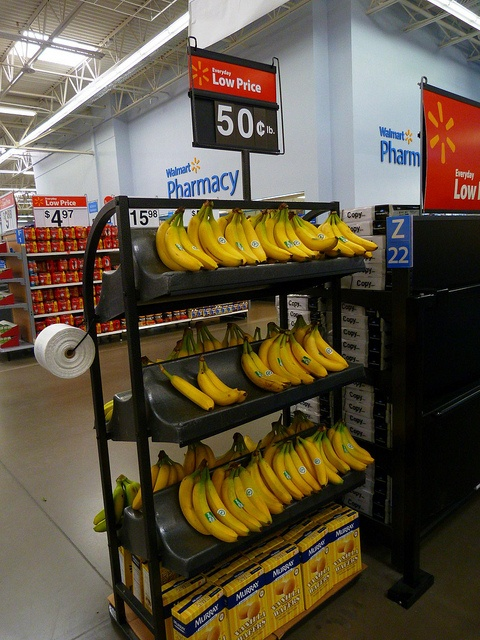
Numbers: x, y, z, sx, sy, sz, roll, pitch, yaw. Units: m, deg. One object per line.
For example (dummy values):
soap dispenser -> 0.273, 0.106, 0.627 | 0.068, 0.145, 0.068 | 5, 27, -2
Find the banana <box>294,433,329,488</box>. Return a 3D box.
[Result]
banana -> 0.291, 0.577, 1.933 | 0.068, 0.088, 0.249 | 16, 32, -32

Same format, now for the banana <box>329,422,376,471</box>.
banana -> 0.481, 0.561, 2.037 | 0.202, 0.121, 0.117 | 41, 42, 1

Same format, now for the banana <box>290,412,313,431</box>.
banana -> 0.292, 0.502, 2.214 | 0.081, 0.124, 0.080 | -38, 54, -6

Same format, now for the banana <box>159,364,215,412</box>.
banana -> -0.183, 0.230, 1.516 | 0.172, 0.061, 0.038 | 32, 7, 25

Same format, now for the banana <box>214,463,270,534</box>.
banana -> -0.016, 0.624, 1.637 | 0.121, 0.088, 0.260 | -7, 56, -49

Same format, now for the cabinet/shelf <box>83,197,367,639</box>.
cabinet/shelf -> -0.020, 0.368, 1.763 | 1.001, 1.598, 0.584 | -10, 9, -39

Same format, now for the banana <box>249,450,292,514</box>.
banana -> 0.102, 0.611, 1.732 | 0.100, 0.071, 0.223 | -20, 69, -25

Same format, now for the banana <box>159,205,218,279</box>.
banana -> -0.178, -0.246, 1.419 | 0.159, 0.186, 0.293 | -6, 8, -17

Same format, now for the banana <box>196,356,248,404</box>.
banana -> -0.071, 0.215, 1.607 | 0.046, 0.083, 0.130 | -11, 52, -46

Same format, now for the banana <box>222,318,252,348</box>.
banana -> -0.031, 0.080, 2.000 | 0.075, 0.142, 0.062 | -9, 33, -21

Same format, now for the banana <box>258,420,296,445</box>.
banana -> 0.165, 0.540, 2.087 | 0.093, 0.114, 0.162 | 15, 29, 39
